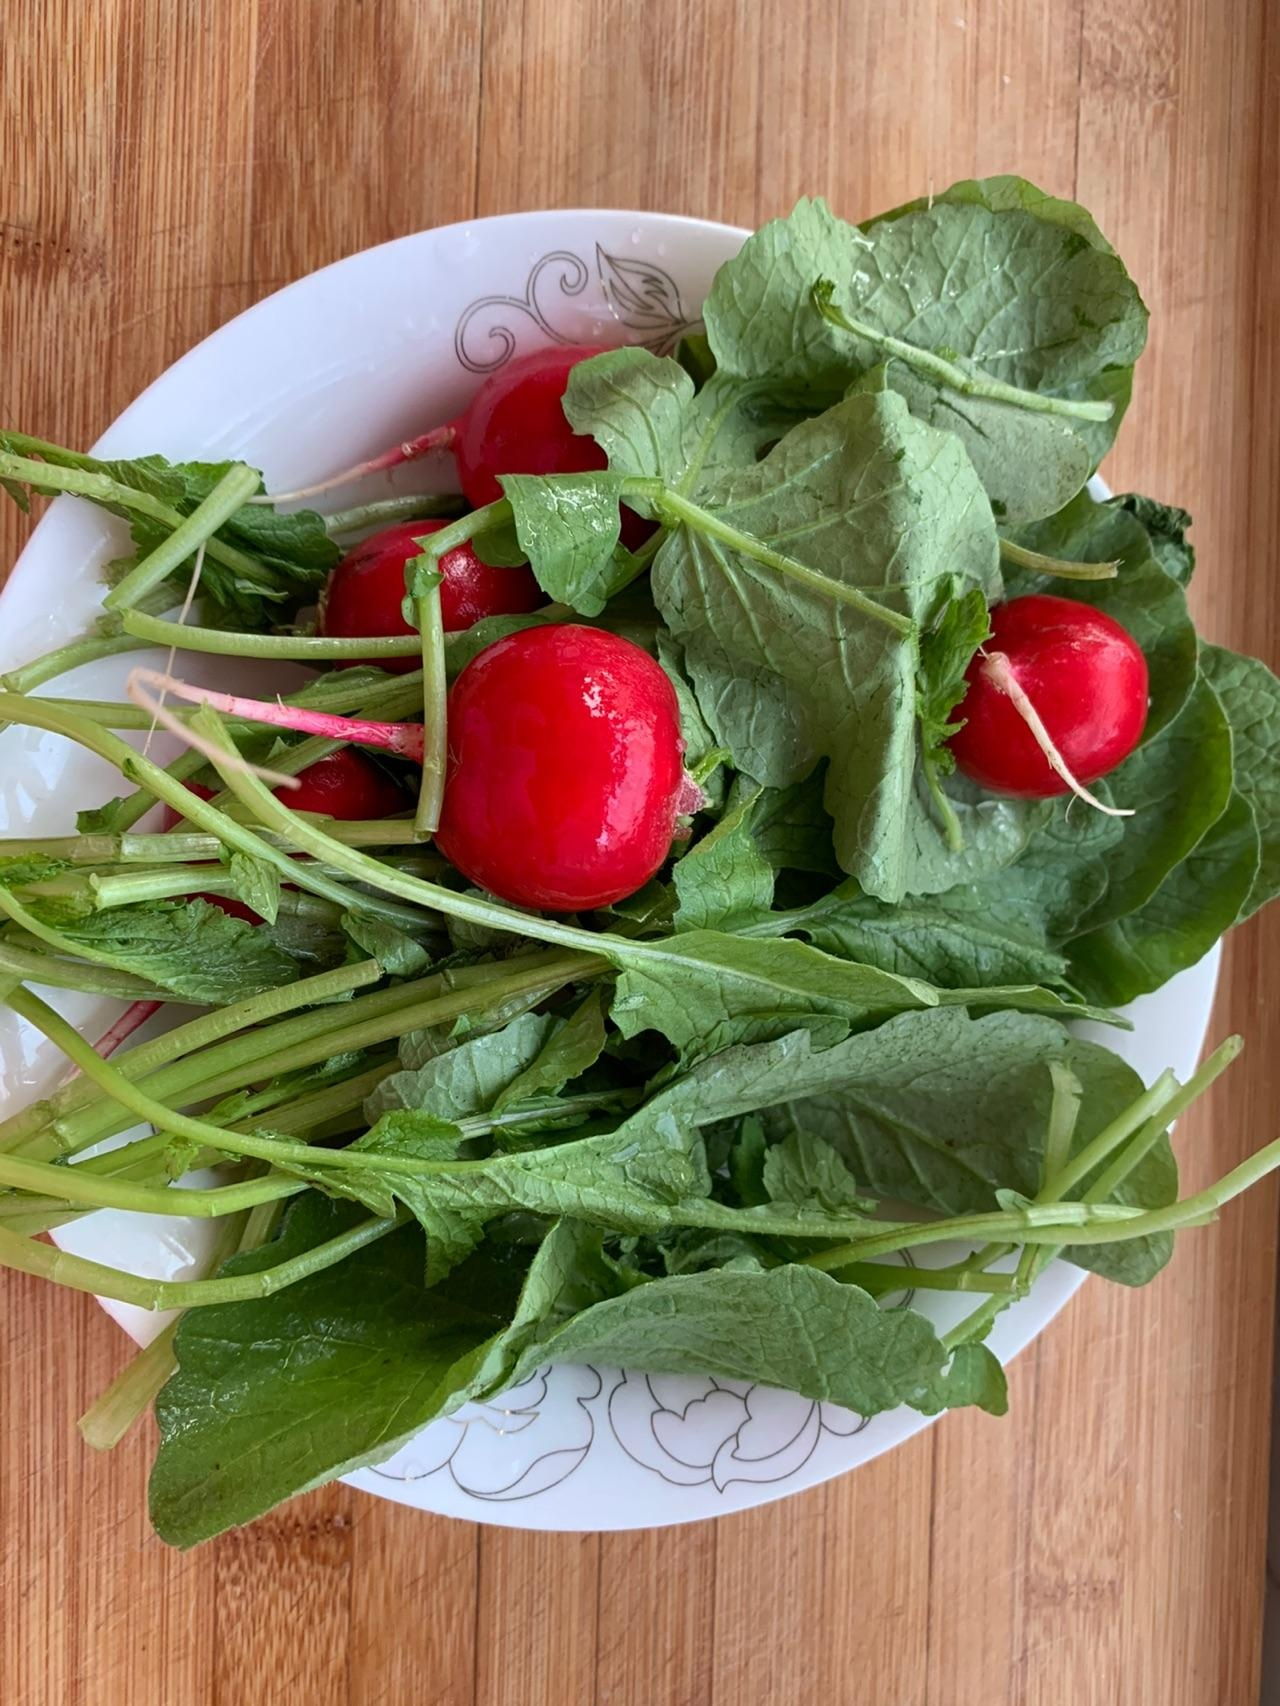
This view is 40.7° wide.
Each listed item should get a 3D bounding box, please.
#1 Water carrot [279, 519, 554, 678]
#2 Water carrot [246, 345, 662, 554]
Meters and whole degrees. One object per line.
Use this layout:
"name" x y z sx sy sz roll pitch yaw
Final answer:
"Water carrot" -0.105 -0.119 0.807 0.103 0.072 0.068 -7 101 -19
"Water carrot" -0.113 -0.190 0.888 0.224 0.086 0.082 -12 59 11
